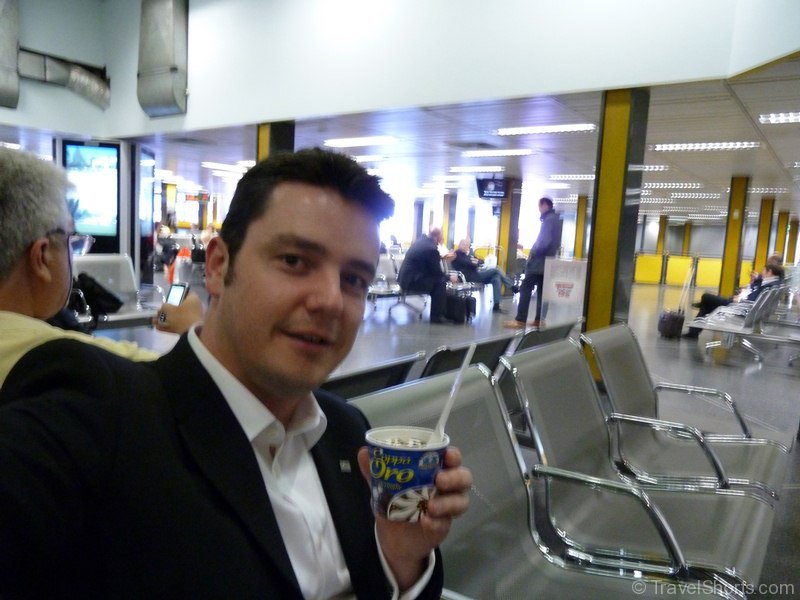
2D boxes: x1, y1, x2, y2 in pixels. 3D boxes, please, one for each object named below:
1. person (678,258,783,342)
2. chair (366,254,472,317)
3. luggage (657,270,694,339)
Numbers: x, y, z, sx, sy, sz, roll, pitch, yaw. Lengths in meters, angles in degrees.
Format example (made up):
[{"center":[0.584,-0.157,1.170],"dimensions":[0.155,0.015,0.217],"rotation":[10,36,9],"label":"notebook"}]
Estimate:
[{"center":[5.500,0.037,9.104],"dimensions":[0.640,1.572,1.028],"rotation":[8,21,-39],"label":"person"},{"center":[0.289,-0.191,8.860],"dimensions":[0.498,0.813,1.197],"rotation":[-1,0,30],"label":"chair"},{"center":[4.164,-0.010,8.613],"dimensions":[0.274,1.077,0.249],"rotation":[9,18,25],"label":"luggage"}]
